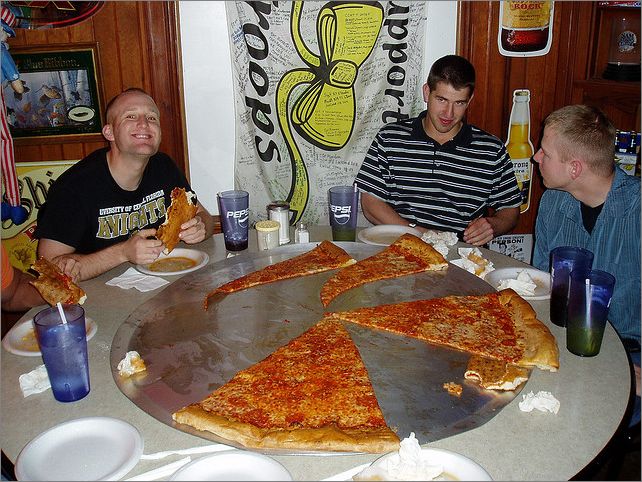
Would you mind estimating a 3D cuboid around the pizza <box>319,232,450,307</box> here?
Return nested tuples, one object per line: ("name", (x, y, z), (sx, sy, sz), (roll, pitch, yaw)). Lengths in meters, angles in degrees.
("pizza", (0.247, 0.153, 2.338), (0.586, 0.067, 0.282), (-17, 26, -28))

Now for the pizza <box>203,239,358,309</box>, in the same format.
("pizza", (-0.198, 0.144, 2.303), (0.727, 0.080, 0.257), (-12, 29, -32))

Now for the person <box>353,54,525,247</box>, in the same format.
("person", (0.848, -0.621, 3.389), (1.217, 1.190, 0.724), (4, 22, 5))

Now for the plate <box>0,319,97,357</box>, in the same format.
("plate", (-1.127, 0.370, 1.882), (0.190, 0.028, 0.196), (14, 19, 27))

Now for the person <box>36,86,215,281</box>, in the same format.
("person", (-1.250, -0.370, 2.941), (0.634, 0.869, 1.017), (23, 29, 21))

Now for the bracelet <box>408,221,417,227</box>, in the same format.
("bracelet", (0.610, -0.111, 3.229), (0.063, 0.025, 0.063), (13, 17, 32))

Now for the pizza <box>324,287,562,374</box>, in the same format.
("pizza", (0.527, 0.350, 1.947), (0.535, 0.109, 0.375), (-1, 23, 5))

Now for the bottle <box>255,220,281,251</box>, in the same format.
("bottle", (-0.278, -0.032, 2.570), (0.140, 0.154, 0.144), (-2, 17, -7))
